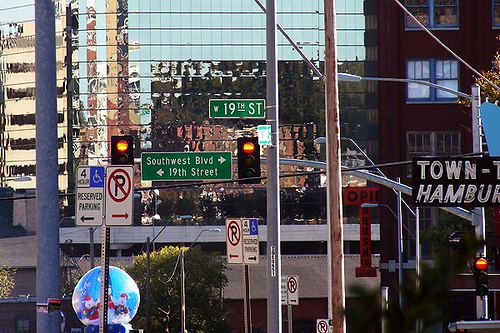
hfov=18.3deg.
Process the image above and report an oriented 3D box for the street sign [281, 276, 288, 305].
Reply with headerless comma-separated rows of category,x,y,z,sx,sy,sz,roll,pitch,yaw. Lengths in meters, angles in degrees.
street sign,3.187,11.038,139.423,0.503,2.424,1.223,-2,-4,9
